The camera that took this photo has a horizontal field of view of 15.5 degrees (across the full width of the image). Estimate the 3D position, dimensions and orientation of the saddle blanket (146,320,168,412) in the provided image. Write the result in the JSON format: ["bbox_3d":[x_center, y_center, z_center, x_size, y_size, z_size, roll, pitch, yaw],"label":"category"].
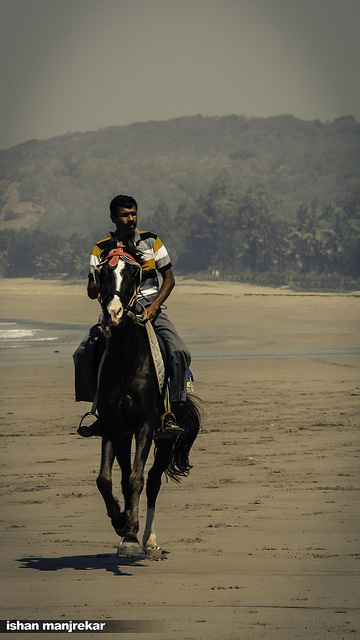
[{"bbox_3d":[-0.208,0.226,10.597,0.134,0.462,0.632,-14,50,-2],"label":"saddle blanket"}]

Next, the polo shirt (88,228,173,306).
[{"bbox_3d":[-0.362,-0.198,10.530,0.878,0.903,0.520,-3,-2,8],"label":"polo shirt"}]

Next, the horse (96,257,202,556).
[{"bbox_3d":[-0.360,0.871,10.788,0.608,2.230,3.105,-1,-15,11],"label":"horse"}]
